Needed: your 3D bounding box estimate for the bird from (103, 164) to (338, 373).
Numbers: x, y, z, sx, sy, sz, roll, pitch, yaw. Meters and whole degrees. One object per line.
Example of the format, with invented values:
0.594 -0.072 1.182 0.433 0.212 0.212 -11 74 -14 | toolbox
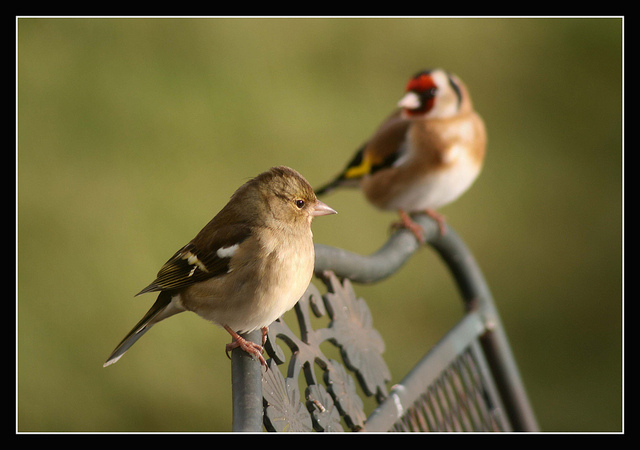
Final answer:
-0.470 0.219 3.534 1.128 0.570 1.041 3 -92 23 | bird
